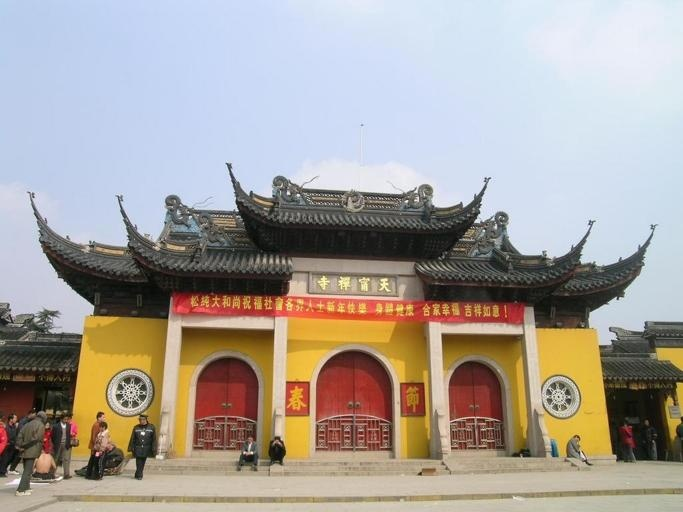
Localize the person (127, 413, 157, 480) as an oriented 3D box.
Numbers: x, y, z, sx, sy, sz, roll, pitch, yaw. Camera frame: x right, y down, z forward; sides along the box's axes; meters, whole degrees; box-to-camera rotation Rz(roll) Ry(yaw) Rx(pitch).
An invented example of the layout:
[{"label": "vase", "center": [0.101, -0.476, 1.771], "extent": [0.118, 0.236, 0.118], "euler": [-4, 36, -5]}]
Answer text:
[{"label": "person", "center": [-4.769, 4.533, 14.664], "extent": [0.631, 1.464, 0.436], "euler": [5, -22, -14]}]

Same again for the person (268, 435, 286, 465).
[{"label": "person", "center": [-1.690, 5.049, 16.054], "extent": [0.388, 0.701, 0.381], "euler": [2, -21, -7]}]

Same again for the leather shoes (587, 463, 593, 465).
[{"label": "leather shoes", "center": [6.937, 5.770, 17.130], "extent": [0.088, 0.095, 0.351], "euler": [-10, -23, 24]}]

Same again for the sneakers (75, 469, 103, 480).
[{"label": "sneakers", "center": [-5.969, 5.157, 14.543], "extent": [0.488, 0.189, 0.152], "euler": [12, -15, 19]}]

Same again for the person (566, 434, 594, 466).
[{"label": "person", "center": [6.737, 5.452, 17.407], "extent": [0.600, 0.894, 1.108], "euler": [-19, -28, 40]}]

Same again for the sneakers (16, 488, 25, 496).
[{"label": "sneakers", "center": [-6.502, 4.752, 12.441], "extent": [0.124, 0.045, 0.135], "euler": [7, 7, -17]}]

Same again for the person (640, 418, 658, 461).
[{"label": "person", "center": [10.304, 6.037, 20.507], "extent": [0.496, 1.415, 2.208], "euler": [-10, -23, 23]}]

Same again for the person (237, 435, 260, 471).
[{"label": "person", "center": [-2.410, 5.086, 16.018], "extent": [0.456, 0.732, 0.734], "euler": [1, -2, 0]}]
